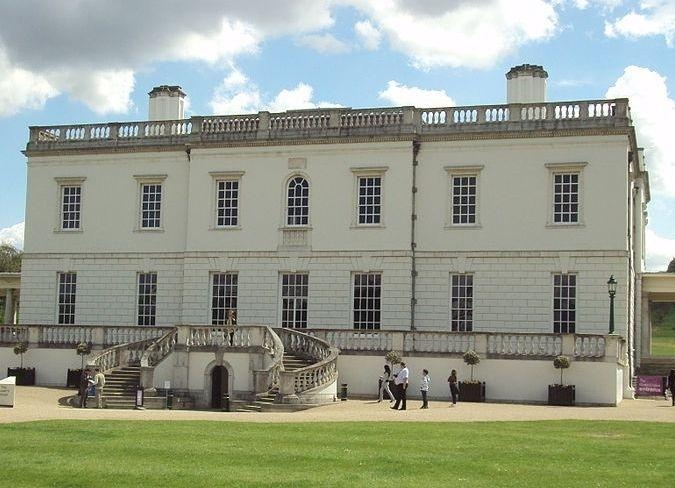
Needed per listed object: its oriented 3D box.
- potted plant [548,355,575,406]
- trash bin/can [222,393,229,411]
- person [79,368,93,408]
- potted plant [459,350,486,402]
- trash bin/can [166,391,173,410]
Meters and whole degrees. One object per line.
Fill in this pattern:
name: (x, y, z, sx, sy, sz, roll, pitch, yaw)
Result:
potted plant: (8.751, 5.354, 41.083, 1.062, 1.956, 0.643, -2, -9, 11)
trash bin/can: (-4.371, 6.141, 40.559, 0.278, 0.630, 0.879, 0, -9, -6)
person: (-9.889, 5.616, 40.819, 0.440, 1.495, 1.302, 1, -9, -13)
potted plant: (5.311, 5.290, 41.818, 1.095, 1.998, 0.619, -2, -9, 10)
trash bin/can: (-6.741, 6.244, 41.773, 0.285, 0.654, 0.951, 1, -9, -9)
